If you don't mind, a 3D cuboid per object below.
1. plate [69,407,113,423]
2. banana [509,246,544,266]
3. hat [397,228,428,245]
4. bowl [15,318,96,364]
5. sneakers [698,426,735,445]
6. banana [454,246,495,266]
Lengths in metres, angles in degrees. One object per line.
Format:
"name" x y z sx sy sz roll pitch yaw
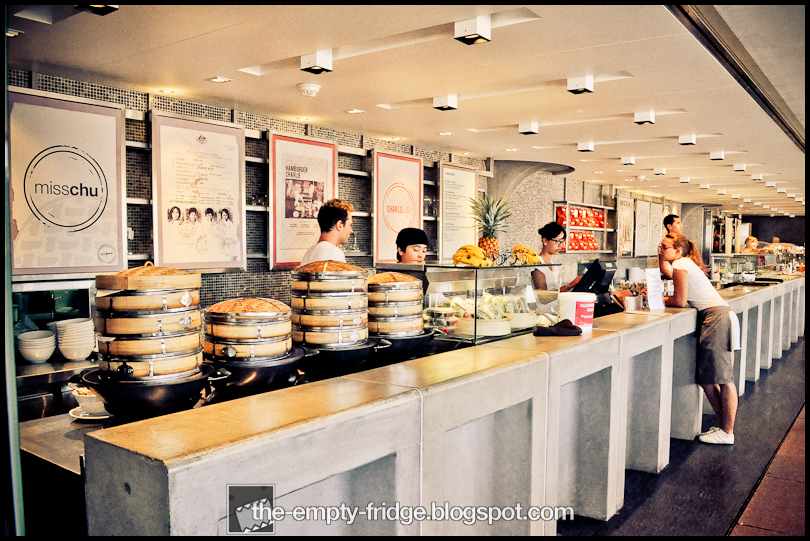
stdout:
"plate" -1.547 0.707 2.716 0.151 0.021 0.136 3 0 -2
"banana" 0.920 -0.108 4.226 0.195 0.082 0.245 -4 6 -7
"hat" 0.091 -0.302 5.182 0.224 0.109 0.207 0 1 -25
"bowl" -3.112 0.628 4.988 0.567 0.266 0.331 2 -2 -20
"sneakers" 3.056 1.636 5.515 0.397 0.139 0.132 0 -4 7
"banana" 0.454 -0.088 3.806 0.179 0.085 0.209 1 -1 17
